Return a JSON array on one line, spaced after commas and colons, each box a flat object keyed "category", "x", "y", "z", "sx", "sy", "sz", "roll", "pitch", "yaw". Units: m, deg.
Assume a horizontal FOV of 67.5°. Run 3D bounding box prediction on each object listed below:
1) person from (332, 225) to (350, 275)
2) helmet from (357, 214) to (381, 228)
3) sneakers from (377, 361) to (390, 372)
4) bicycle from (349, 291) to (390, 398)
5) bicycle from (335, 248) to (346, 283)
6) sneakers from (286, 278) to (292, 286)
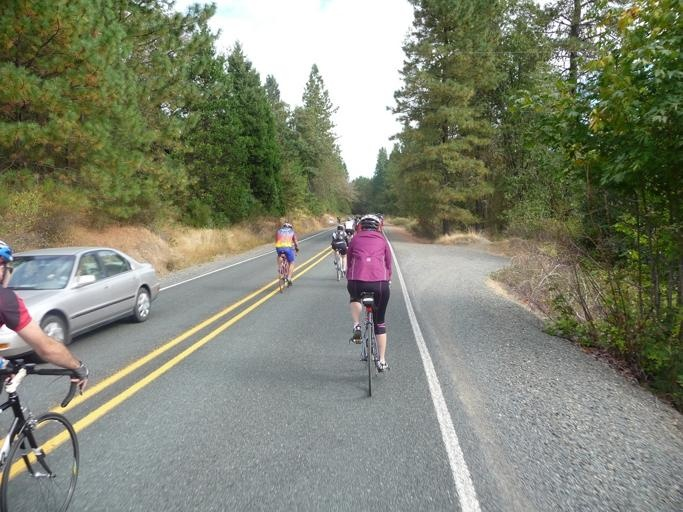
[{"category": "person", "x": -0.072, "y": -0.187, "z": 16.587, "sx": 0.594, "sy": 0.984, "sz": 1.447, "roll": -3, "pitch": 25, "yaw": -2}, {"category": "helmet", "x": 0.442, "y": -0.621, "z": 8.598, "sx": 0.296, "sy": 0.292, "sz": 0.275, "roll": 9, "pitch": -8, "yaw": -41}, {"category": "sneakers", "x": 0.652, "y": 1.808, "z": 8.296, "sx": 0.114, "sy": 0.134, "sz": 0.274, "roll": -3, "pitch": -9, "yaw": 2}, {"category": "bicycle", "x": 0.439, "y": 1.387, "z": 8.294, "sx": 0.564, "sy": 0.947, "sz": 1.357, "roll": 0, "pitch": -3, "yaw": 2}, {"category": "bicycle", "x": -0.080, "y": 0.327, "z": 16.907, "sx": 0.365, "sy": 0.563, "sz": 0.883, "roll": -1, "pitch": 28, "yaw": 1}, {"category": "sneakers", "x": -1.581, "y": 0.807, "z": 15.461, "sx": 0.145, "sy": 0.326, "sz": 0.168, "roll": 4, "pitch": 32, "yaw": 1}]
